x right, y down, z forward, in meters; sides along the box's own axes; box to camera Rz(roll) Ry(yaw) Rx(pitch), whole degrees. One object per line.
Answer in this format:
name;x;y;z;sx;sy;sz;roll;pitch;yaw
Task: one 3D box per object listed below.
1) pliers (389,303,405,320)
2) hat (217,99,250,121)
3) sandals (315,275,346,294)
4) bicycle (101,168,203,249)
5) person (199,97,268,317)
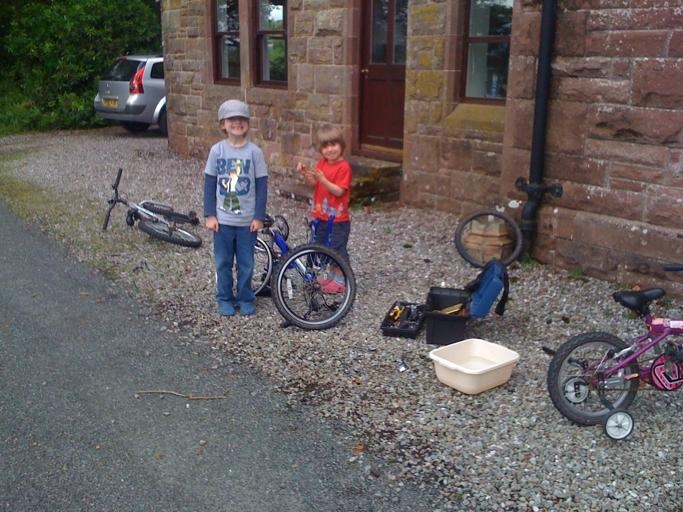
pliers;0.479;0.487;5.408;0.056;0.095;0.202;-6;6;21
hat;-0.919;-1.221;5.325;0.219;0.177;0.317;-2;8;-12
sandals;-0.120;0.278;5.783;0.298;0.231;0.116;2;30;-6
bicycle;-2.098;-0.472;7.305;0.749;0.878;1.316;14;8;-4
person;-0.912;-0.391;5.415;0.540;1.794;0.546;-3;24;-8
